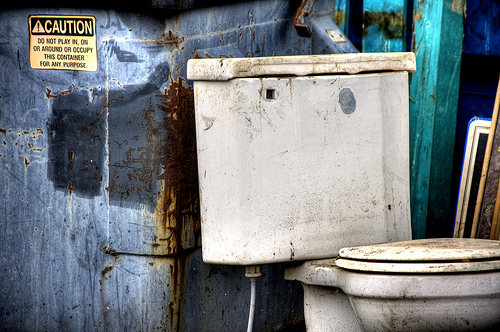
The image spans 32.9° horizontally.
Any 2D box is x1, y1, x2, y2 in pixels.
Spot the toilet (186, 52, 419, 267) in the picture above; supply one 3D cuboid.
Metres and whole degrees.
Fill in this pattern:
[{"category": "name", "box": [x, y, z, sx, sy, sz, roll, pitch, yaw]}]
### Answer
[{"category": "toilet", "box": [0.204, -0.033, 3.939, 0.862, 0.838, 0.344, -4, 4, -31]}]
